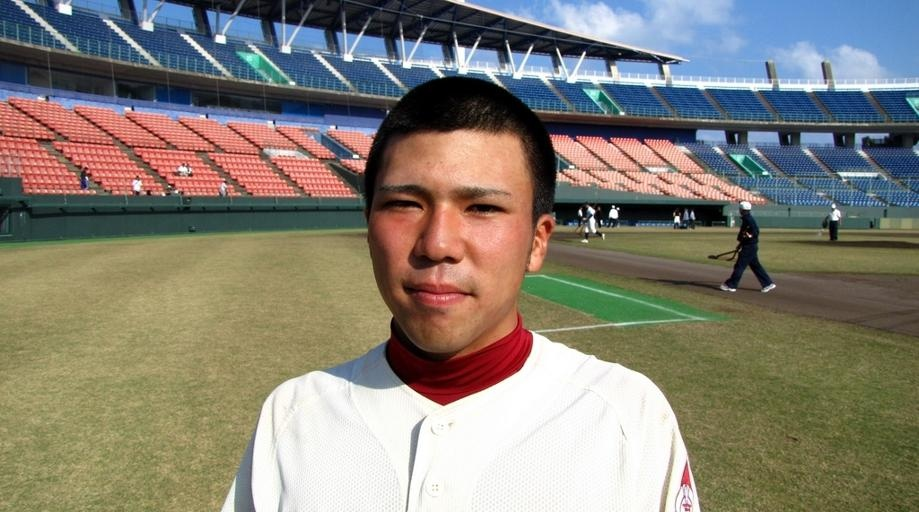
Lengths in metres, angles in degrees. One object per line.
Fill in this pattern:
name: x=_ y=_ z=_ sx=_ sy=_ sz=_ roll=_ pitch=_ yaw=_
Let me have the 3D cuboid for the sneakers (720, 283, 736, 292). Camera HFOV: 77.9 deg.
sneakers: x=6.991 y=0.816 z=14.812 sx=0.226 sy=0.179 sz=0.495 roll=-1 pitch=-6 yaw=28

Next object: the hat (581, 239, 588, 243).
hat: x=6.056 y=-0.744 z=27.632 sx=0.229 sy=0.117 sz=0.339 roll=0 pitch=-6 yaw=15

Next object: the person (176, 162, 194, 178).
person: x=-15.441 y=-4.859 z=31.951 sx=0.884 sy=0.384 sz=1.033 roll=0 pitch=4 yaw=-19

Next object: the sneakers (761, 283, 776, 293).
sneakers: x=8.056 y=0.808 z=14.757 sx=0.544 sy=0.190 sz=0.179 roll=-14 pitch=-7 yaw=-33
